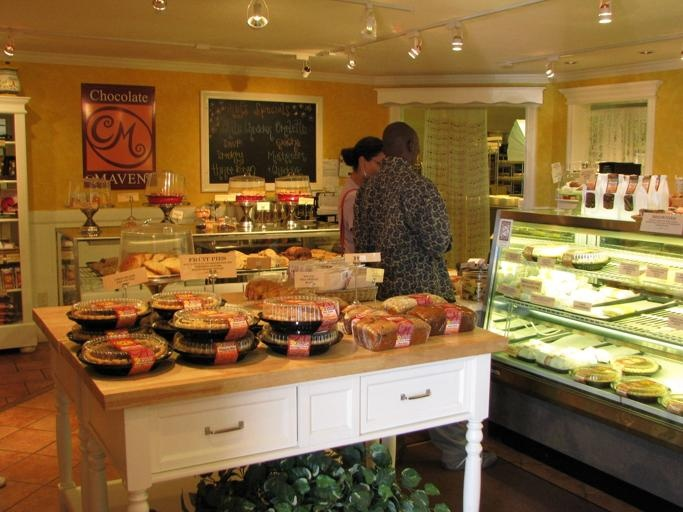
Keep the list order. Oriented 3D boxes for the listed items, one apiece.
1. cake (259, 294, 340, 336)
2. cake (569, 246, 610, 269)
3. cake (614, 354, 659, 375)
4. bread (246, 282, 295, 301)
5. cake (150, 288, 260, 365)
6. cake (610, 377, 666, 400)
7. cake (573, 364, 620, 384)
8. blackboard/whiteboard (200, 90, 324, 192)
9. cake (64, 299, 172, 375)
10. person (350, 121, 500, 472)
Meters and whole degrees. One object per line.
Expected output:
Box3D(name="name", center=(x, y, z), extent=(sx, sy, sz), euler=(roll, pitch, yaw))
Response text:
Box3D(name="cake", center=(-0.118, 0.209, 1.952), extent=(0.174, 0.054, 0.175), euler=(5, 8, 39))
Box3D(name="cake", center=(1.409, 0.017, 3.098), extent=(0.236, 0.119, 0.120), euler=(2, 10, 24))
Box3D(name="cake", center=(1.649, 0.613, 3.014), extent=(0.212, 0.076, 0.160), euler=(-2, 9, 2))
Box3D(name="bread", center=(-0.356, 0.159, 2.555), extent=(0.137, 0.046, 0.136), euler=(3, 4, 33))
Box3D(name="cake", center=(-0.437, 0.193, 1.878), extent=(0.275, 0.108, 0.302), euler=(-11, 21, -43))
Box3D(name="cake", center=(1.582, 0.706, 2.854), extent=(0.264, 0.074, 0.140), euler=(1, 10, 22))
Box3D(name="cake", center=(1.434, 0.673, 3.021), extent=(0.228, 0.073, 0.158), euler=(-2, 9, 4))
Box3D(name="blackboard/whiteboard", center=(-1.045, -1.452, 6.661), extent=(1.635, 1.113, 0.068), euler=(-3, 8, -23))
Box3D(name="cake", center=(-0.783, 0.280, 1.883), extent=(0.234, 0.102, 0.366), euler=(2, 13, -33))
Box3D(name="person", center=(0.515, 0.121, 3.184), extent=(0.544, 1.750, 0.678), euler=(-26, 26, -37))
